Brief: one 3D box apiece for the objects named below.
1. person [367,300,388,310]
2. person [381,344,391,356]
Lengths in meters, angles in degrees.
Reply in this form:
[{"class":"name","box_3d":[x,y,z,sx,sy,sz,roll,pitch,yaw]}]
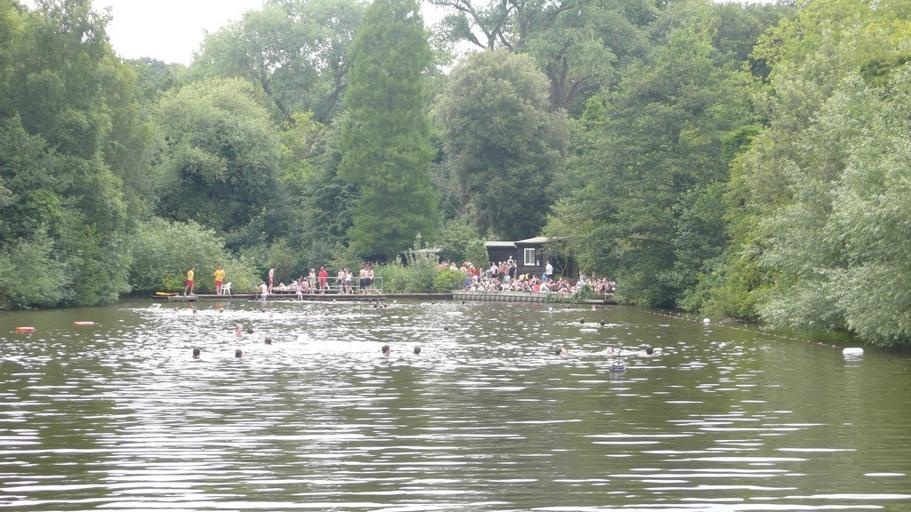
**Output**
[{"class":"person","box_3d":[-6.038,3.913,124.074,0.984,0.559,2.007,-8,0,1]},{"class":"person","box_3d":[-4.238,5.699,94.846,0.552,0.657,1.614,2,-4,-3]}]
